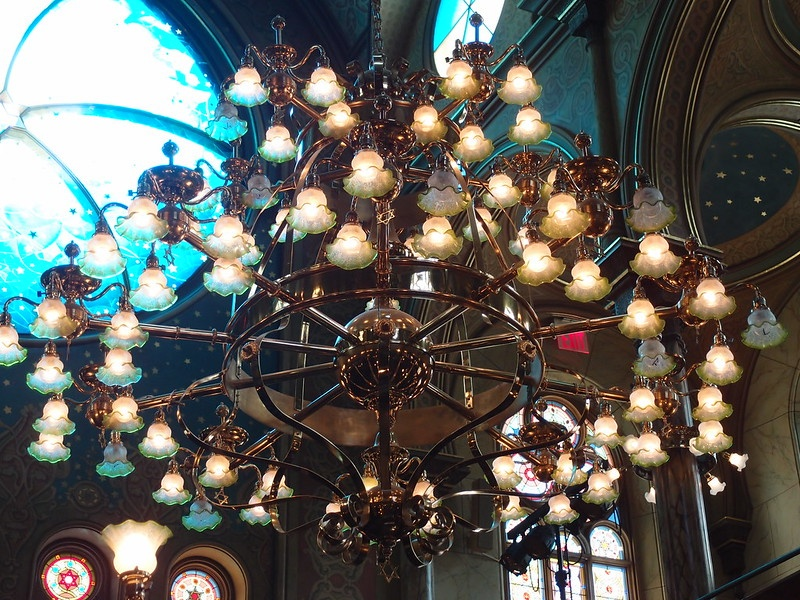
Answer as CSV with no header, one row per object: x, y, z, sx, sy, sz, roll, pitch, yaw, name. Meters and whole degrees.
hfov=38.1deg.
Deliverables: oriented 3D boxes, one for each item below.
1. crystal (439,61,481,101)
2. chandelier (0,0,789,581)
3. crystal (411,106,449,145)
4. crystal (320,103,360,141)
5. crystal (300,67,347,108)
0.412,-1.413,7.770,0.246,0.274,0.254,-9,-29,16,crystal
-0.176,-0.077,10.307,4.501,5.654,4.666,-1,-37,2,chandelier
0.198,-1.152,7.677,0.234,0.363,0.215,-3,-26,2,crystal
-0.410,-1.231,7.851,0.261,0.280,0.203,-1,-26,-4,crystal
-0.515,-1.431,7.899,0.266,0.324,0.185,-15,-29,23,crystal
